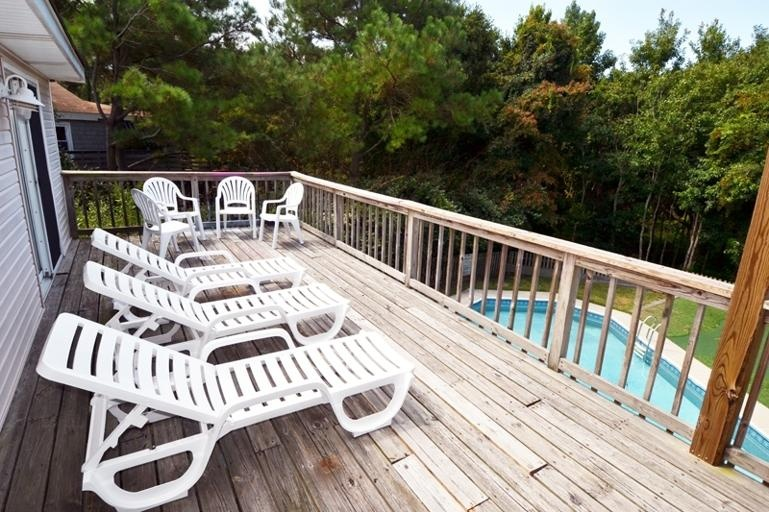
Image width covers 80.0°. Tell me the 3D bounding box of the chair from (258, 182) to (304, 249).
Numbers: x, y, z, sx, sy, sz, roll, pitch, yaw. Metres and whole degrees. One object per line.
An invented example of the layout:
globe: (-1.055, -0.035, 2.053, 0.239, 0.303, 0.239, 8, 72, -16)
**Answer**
chair: (-1.664, -0.695, 7.485, 0.607, 0.946, 0.665, -8, 18, -37)

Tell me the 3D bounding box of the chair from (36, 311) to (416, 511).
chair: (-1.144, 1.047, 3.515, 2.338, 1.155, 0.849, -1, 20, -22)

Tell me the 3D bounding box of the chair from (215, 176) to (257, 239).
chair: (-2.591, -0.846, 8.064, 0.775, 0.948, 0.821, -3, 2, 28)

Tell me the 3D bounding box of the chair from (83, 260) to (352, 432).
chair: (-1.536, 0.445, 4.416, 2.167, 0.929, 0.936, -7, 16, -35)

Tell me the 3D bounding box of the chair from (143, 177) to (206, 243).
chair: (-3.466, -0.518, 7.533, 0.986, 1.195, 1.014, 10, -9, -19)

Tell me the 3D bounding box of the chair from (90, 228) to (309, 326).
chair: (-1.733, 0.299, 5.463, 2.829, 1.038, 1.032, -8, 25, -32)
